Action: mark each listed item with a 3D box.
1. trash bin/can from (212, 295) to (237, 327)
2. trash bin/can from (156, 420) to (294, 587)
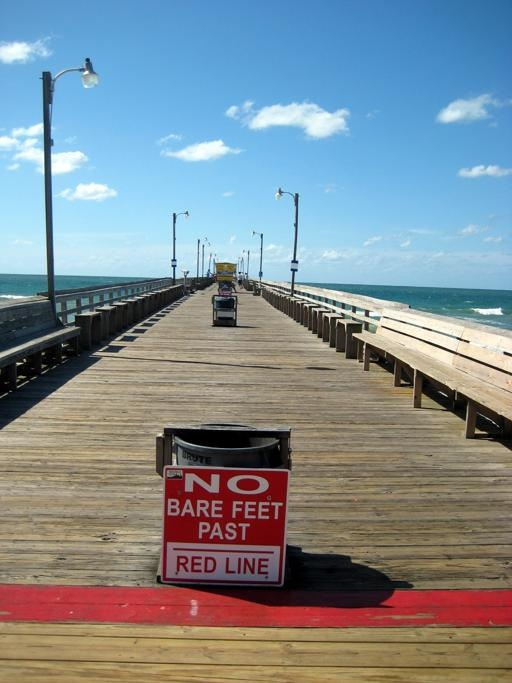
[{"bbox_3d":[-0.791,-0.748,16.887,0.577,0.745,0.682,1,7,-5],"label":"trash bin/can"},{"bbox_3d":[-0.189,0.686,3.237,0.849,0.774,0.655,3,12,2],"label":"trash bin/can"}]
